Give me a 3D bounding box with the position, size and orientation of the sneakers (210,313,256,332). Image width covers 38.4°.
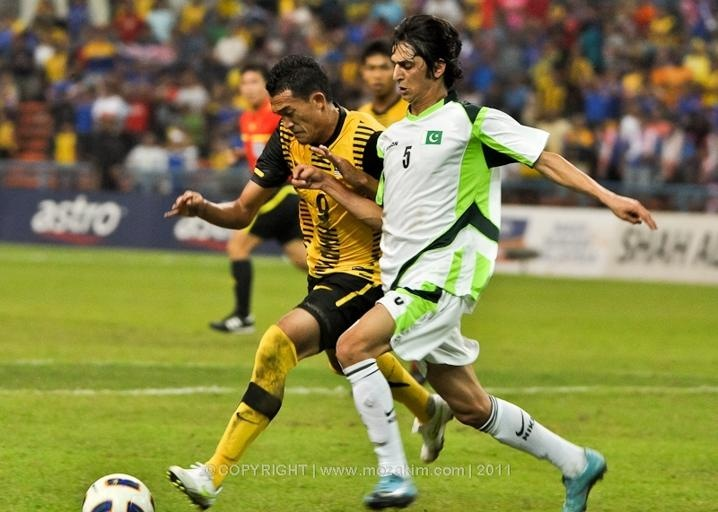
[{"bbox_3d":[-1.400,0.747,11.649,0.594,0.222,0.193,2,-1,-1],"label":"sneakers"}]

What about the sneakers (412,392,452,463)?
[{"bbox_3d":[0.528,1.280,7.875,0.311,0.560,0.214,3,17,-17],"label":"sneakers"}]

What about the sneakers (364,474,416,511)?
[{"bbox_3d":[0.215,1.564,6.885,0.208,0.139,0.346,-4,-9,22],"label":"sneakers"}]
